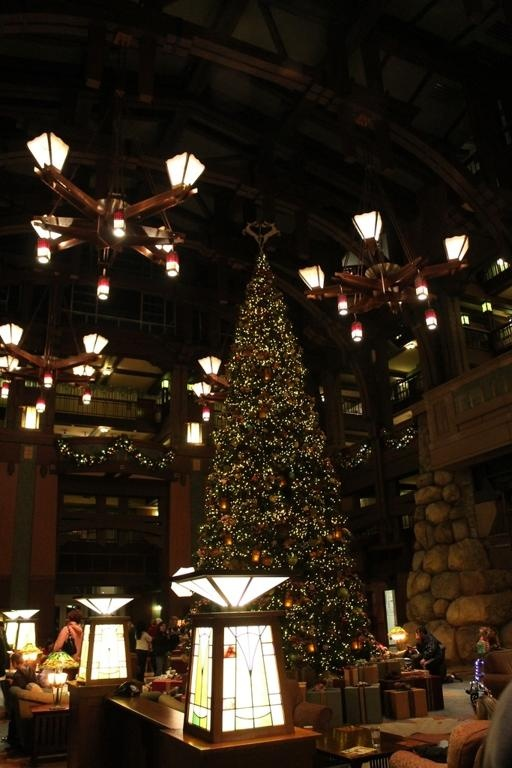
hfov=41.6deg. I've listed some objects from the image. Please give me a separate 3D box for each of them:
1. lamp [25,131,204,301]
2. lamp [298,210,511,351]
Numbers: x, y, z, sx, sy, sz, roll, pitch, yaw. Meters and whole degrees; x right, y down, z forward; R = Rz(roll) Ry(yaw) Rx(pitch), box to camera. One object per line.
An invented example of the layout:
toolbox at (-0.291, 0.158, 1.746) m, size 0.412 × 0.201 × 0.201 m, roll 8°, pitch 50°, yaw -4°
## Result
lamp at (-1.472, -1.505, 6.790) m, size 1.513 × 1.168 × 1.824 m, roll 4°, pitch -19°, yaw -15°
lamp at (2.644, -1.860, 11.763) m, size 2.041 × 1.106 × 2.235 m, roll 25°, pitch -46°, yaw -38°
